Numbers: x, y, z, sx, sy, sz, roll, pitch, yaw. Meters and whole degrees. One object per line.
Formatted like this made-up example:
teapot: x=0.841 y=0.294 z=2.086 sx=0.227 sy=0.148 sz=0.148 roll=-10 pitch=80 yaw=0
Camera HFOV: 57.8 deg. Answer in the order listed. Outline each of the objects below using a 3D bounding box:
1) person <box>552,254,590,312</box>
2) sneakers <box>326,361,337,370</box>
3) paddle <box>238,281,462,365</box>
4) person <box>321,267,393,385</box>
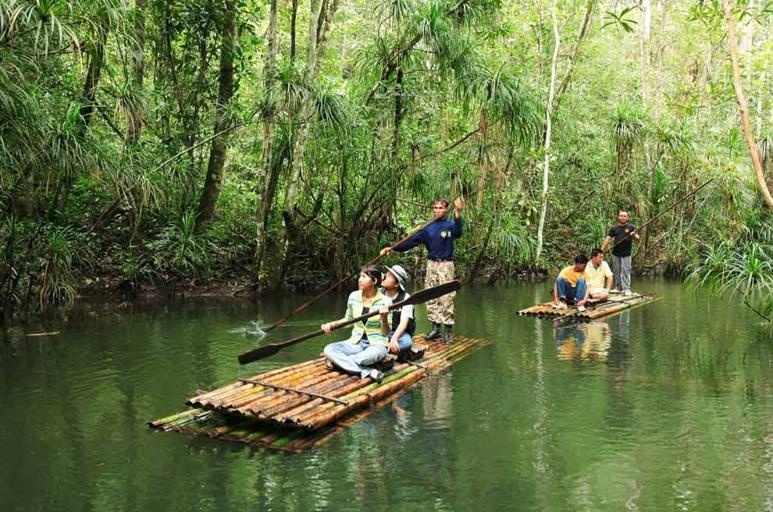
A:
person: x=3.462 y=0.484 z=13.162 sx=0.705 sy=0.985 sz=0.737 roll=11 pitch=-4 yaw=-31
sneakers: x=-0.688 y=1.346 z=8.703 sx=0.124 sy=0.040 sz=0.087 roll=38 pitch=-1 yaw=-35
paddle: x=-0.549 y=1.007 z=10.332 sx=3.225 sy=0.244 sz=0.143 roll=-18 pitch=6 yaw=-13
person: x=-0.359 y=0.810 z=8.695 sx=0.839 sy=1.343 sz=0.965 roll=1 pitch=-1 yaw=-7
